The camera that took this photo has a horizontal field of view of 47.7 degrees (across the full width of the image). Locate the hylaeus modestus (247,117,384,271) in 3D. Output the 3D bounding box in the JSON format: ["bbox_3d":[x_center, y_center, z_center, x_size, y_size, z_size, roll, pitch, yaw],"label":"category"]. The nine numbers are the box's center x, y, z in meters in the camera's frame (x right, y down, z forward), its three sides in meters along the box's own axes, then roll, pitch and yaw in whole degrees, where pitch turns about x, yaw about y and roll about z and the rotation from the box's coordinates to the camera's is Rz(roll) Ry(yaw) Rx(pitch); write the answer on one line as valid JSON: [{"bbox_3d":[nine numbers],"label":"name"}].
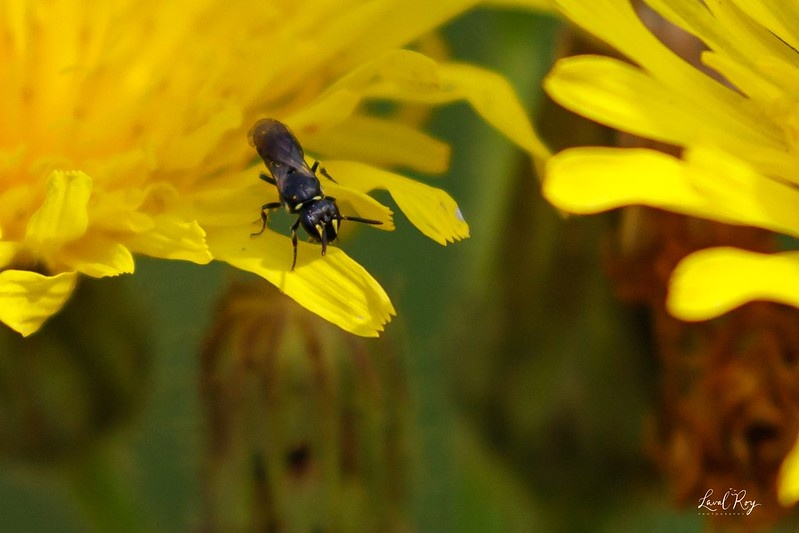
[{"bbox_3d":[-0.154,-0.089,1.395,0.147,0.077,0.240,-4,-23,30],"label":"hylaeus modestus"}]
